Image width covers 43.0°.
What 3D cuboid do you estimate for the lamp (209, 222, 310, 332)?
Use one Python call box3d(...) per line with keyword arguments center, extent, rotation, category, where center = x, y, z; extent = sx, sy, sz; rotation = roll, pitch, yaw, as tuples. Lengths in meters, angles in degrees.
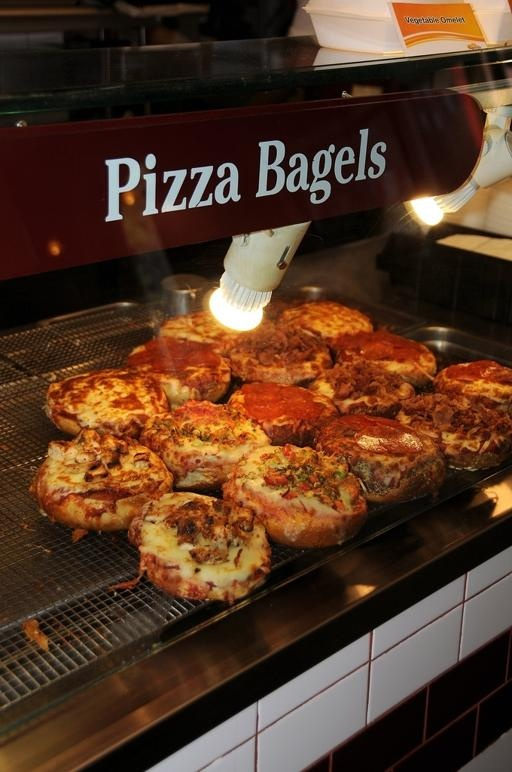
box3d(center=(0.002, -0.204, 1.003), extent=(0.108, 0.261, 0.070), rotation=(26, 64, -3), category="lamp")
